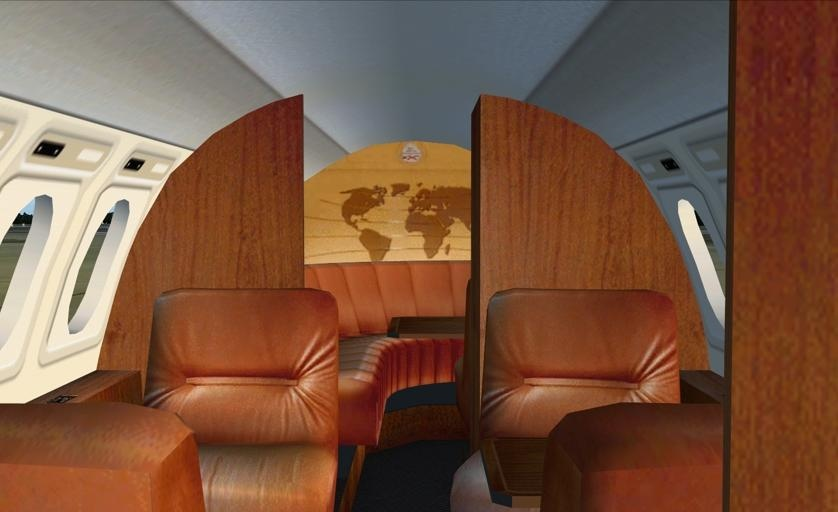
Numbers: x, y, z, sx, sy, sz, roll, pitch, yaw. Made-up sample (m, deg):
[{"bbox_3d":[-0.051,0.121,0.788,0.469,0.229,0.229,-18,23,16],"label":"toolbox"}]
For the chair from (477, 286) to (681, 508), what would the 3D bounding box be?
[{"bbox_3d":[0.637,0.484,2.054,0.801,0.665,0.701,0,-4,4],"label":"chair"}]
